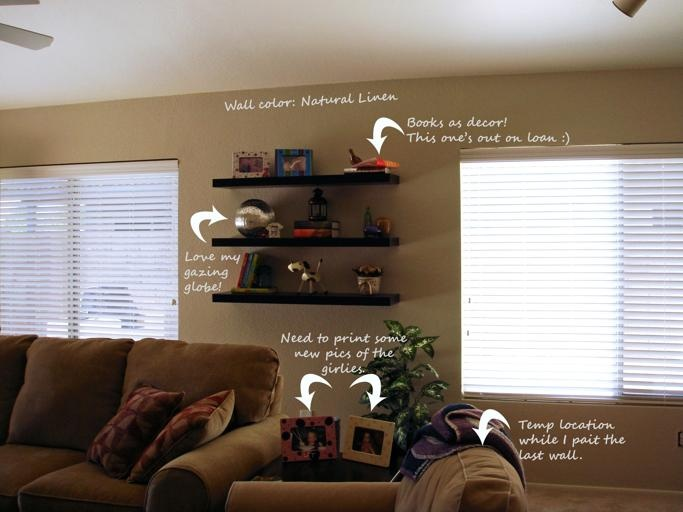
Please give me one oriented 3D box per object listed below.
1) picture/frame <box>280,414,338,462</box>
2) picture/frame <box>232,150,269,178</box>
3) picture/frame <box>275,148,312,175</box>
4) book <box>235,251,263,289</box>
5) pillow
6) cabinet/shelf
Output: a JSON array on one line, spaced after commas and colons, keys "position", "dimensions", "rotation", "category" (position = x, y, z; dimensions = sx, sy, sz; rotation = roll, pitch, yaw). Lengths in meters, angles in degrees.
[{"position": [-0.192, 1.082, 3.790], "dimensions": [0.393, 0.283, 0.227], "rotation": [0, -5, -3], "category": "picture/frame"}, {"position": [-0.700, -0.697, 4.940], "dimensions": [0.333, 0.232, 0.183], "rotation": [0, -3, 2], "category": "picture/frame"}, {"position": [-0.352, -0.689, 4.962], "dimensions": [0.338, 0.304, 0.181], "rotation": [1, -2, 4], "category": "picture/frame"}, {"position": [-0.720, 0.115, 4.980], "dimensions": [0.057, 0.243, 0.243], "rotation": [9, -5, 2], "category": "book"}, {"position": [-1.093, 1.055, 3.811], "dimensions": [0.829, 0.494, 0.372], "rotation": [0, -1, 11], "category": "pillow"}, {"position": [-0.340, -0.107, 5.011], "dimensions": [1.400, 0.950, 0.436], "rotation": [0, -2, -16], "category": "cabinet/shelf"}]
